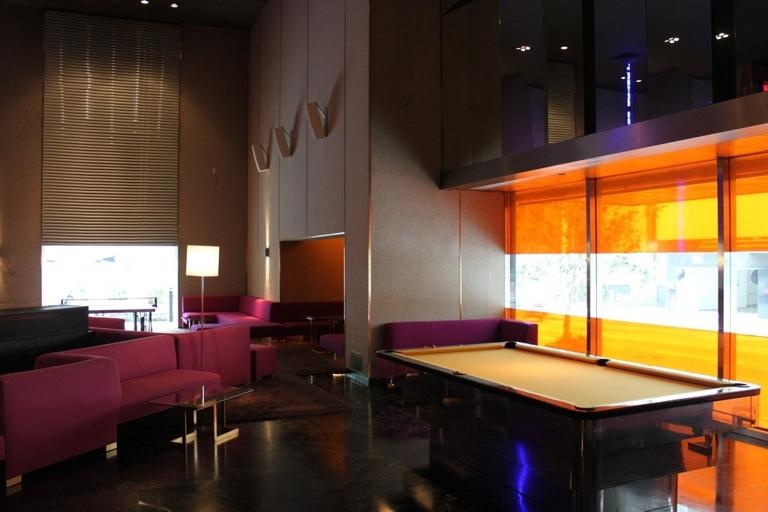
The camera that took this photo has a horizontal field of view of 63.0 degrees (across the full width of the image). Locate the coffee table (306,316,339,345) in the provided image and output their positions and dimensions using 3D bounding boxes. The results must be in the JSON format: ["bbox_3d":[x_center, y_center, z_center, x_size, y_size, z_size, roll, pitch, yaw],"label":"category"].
[{"bbox_3d":[-1.231,1.436,12.399,0.616,0.592,0.618,-6,-7,40],"label":"coffee table"}]

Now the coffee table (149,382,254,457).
[{"bbox_3d":[-2.147,1.881,7.654,0.952,0.600,1.245,0,8,2],"label":"coffee table"}]
